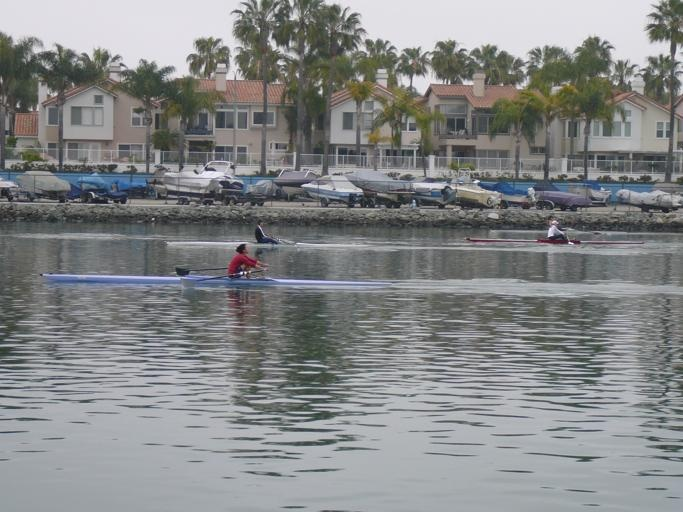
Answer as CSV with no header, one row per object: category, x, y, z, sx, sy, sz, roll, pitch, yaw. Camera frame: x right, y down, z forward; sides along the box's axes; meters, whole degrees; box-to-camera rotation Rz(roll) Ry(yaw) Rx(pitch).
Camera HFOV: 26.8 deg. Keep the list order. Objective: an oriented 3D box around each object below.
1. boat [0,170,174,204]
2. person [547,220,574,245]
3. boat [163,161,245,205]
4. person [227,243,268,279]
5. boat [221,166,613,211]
boat,-16.386,-4.382,90.676,9.135,1.947,4.279,0,1,-9
person,10.780,-1.216,71.922,0.904,1.162,2.251,1,1,24
boat,-8.713,-4.591,89.437,4.737,2.129,2.693,0,8,7
person,-3.698,0.353,55.719,1.573,1.716,0.942,1,0,10
boat,3.997,-4.235,90.615,23.583,2.483,3.724,0,1,-7
